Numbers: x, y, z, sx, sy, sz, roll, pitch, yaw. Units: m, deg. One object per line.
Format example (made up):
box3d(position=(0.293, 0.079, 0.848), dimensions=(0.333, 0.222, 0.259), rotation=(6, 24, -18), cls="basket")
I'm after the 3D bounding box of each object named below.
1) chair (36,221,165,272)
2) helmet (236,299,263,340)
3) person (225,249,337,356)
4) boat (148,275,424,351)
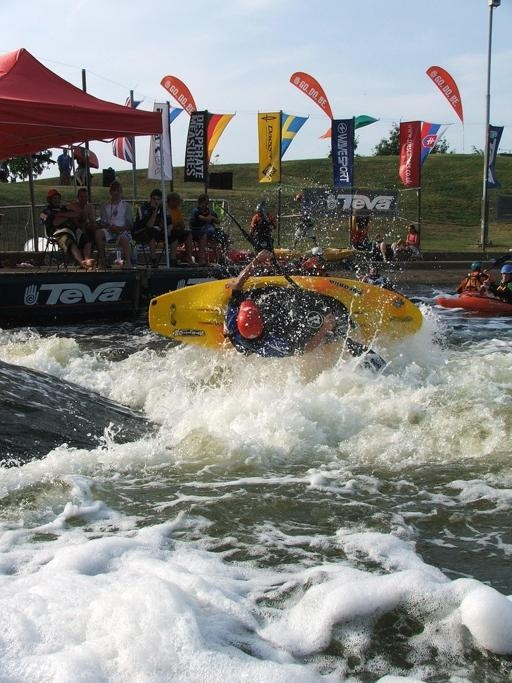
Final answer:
box3d(position=(-2.700, -1.632, 11.671), dimensions=(1.411, 0.860, 1.079), rotation=(2, 9, -14), cls="chair")
box3d(position=(-0.078, -0.213, 7.042), dimensions=(0.205, 0.345, 0.280), rotation=(2, 9, -18), cls="helmet")
box3d(position=(0.229, -0.392, 7.476), dimensions=(1.183, 1.072, 0.751), rotation=(6, 9, 10), cls="person")
box3d(position=(0.310, -0.224, 7.759), dimensions=(3.525, 0.739, 0.936), rotation=(3, 11, 7), cls="boat")
